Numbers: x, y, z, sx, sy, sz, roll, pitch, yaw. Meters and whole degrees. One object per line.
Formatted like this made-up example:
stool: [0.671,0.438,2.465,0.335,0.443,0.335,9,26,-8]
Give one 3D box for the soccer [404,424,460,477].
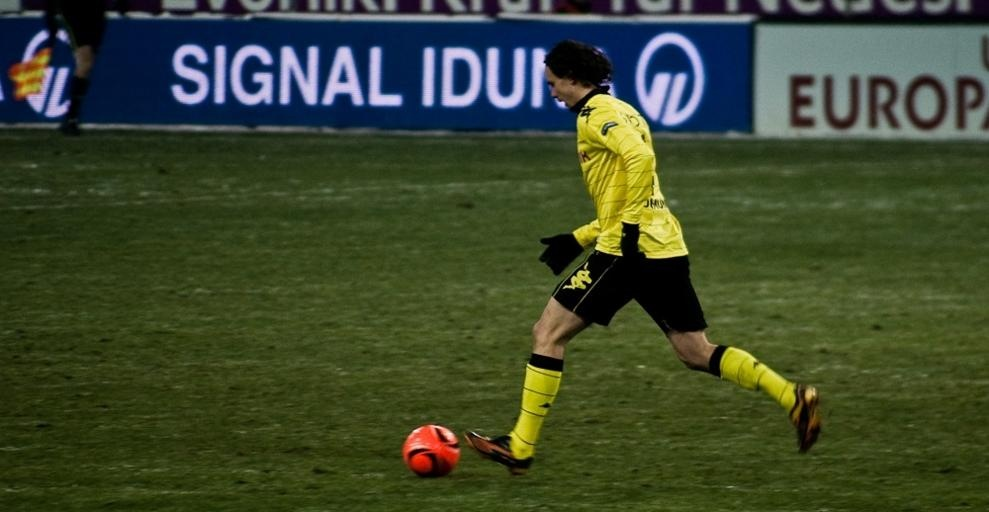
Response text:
soccer: [-0.605,1.849,15.037,0.536,0.427,0.576,1,1,38]
